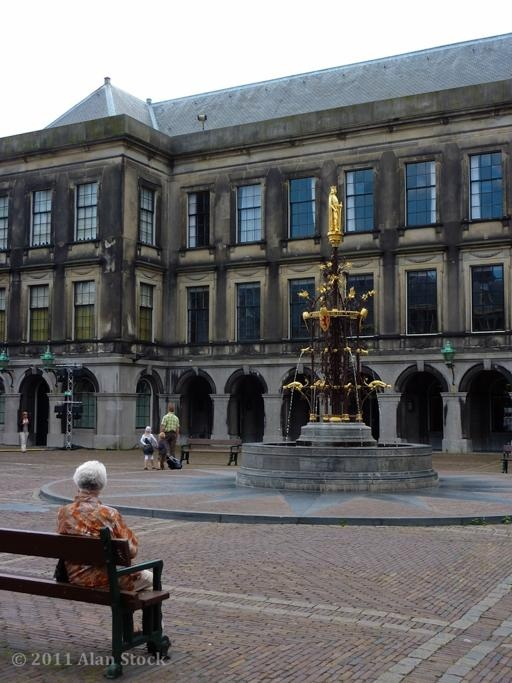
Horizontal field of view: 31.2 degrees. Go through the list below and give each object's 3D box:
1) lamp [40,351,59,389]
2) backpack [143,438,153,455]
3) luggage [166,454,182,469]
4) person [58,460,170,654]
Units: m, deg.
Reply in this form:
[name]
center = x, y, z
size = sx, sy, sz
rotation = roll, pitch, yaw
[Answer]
[lamp]
center = -8.092, 1.001, 36.021
size = 0.595, 1.664, 2.689
rotation = 0, -6, -13
[backpack]
center = -2.655, 2.616, 22.812
size = 0.258, 0.416, 0.131
rotation = -3, 5, 36
[luggage]
center = -2.056, 3.016, 23.077
size = 0.337, 0.336, 0.451
rotation = -1, -6, -12
[person]
center = -0.937, 1.378, 6.103
size = 0.507, 1.411, 0.684
rotation = 3, 12, 30
